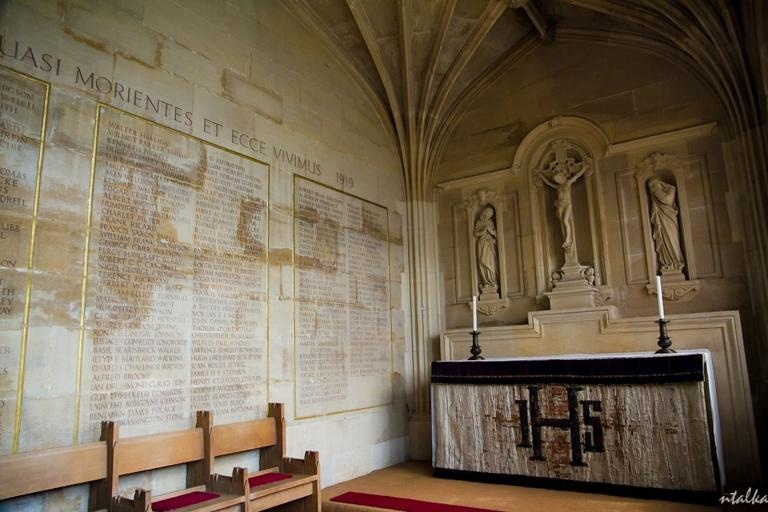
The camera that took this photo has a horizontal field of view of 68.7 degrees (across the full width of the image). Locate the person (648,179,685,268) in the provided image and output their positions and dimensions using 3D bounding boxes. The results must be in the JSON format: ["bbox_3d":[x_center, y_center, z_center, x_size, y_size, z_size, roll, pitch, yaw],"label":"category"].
[{"bbox_3d":[3.318,-0.373,6.639,0.340,1.136,0.150,-4,-5,26],"label":"person"}]

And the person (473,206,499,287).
[{"bbox_3d":[1.376,-0.122,7.639,0.317,1.158,0.200,-4,-5,27],"label":"person"}]

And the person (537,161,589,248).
[{"bbox_3d":[2.307,-0.613,7.183,0.621,1.172,0.229,-4,-4,18],"label":"person"}]
